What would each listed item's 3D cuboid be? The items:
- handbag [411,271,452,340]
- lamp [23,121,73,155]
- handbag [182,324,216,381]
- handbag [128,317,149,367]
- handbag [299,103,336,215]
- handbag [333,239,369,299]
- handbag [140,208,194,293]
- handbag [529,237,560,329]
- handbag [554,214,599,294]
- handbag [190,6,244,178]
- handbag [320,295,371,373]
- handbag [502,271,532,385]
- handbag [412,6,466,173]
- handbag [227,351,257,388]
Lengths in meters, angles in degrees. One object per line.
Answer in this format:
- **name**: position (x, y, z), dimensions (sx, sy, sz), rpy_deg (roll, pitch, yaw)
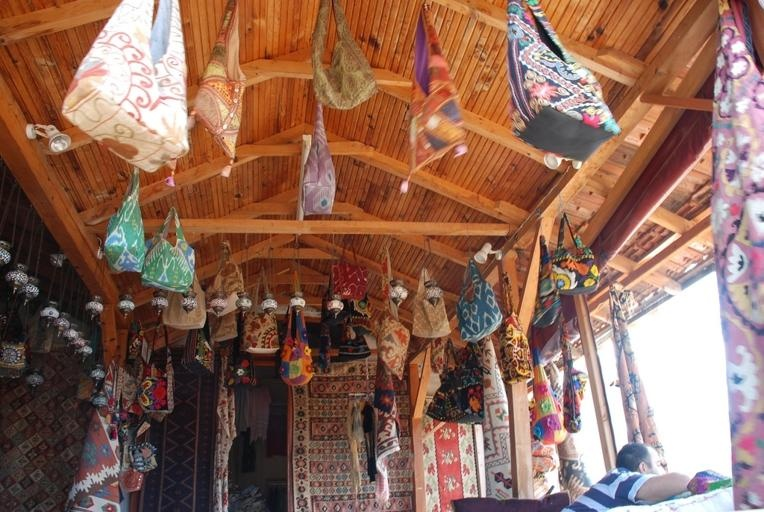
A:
- **handbag**: position (0.583, 0.568, 7.109), dimensions (0.388, 0.879, 0.583), rpy_deg (2, -31, -9)
- **lamp**: position (-3.001, -1.049, 5.212), dimensions (0.247, 0.369, 0.215), rpy_deg (-16, -41, -26)
- **handbag**: position (-2.528, 1.264, 8.032), dimensions (0.349, 0.515, 0.626), rpy_deg (-2, -31, -3)
- **handbag**: position (-3.234, 1.133, 7.623), dimensions (0.131, 0.601, 0.349), rpy_deg (2, 3, 14)
- **handbag**: position (-0.606, -1.030, 5.542), dimensions (0.300, 1.110, 0.808), rpy_deg (1, -31, -8)
- **handbag**: position (-0.539, 0.345, 8.555), dimensions (0.522, 0.676, 0.276), rpy_deg (-1, -22, -16)
- **handbag**: position (-1.990, -0.101, 5.538), dimensions (0.460, 0.848, 0.337), rpy_deg (10, -33, -22)
- **handbag**: position (1.752, 0.212, 6.362), dimensions (0.260, 0.849, 0.822), rpy_deg (-5, -31, 3)
- **handbag**: position (1.915, -0.044, 5.948), dimensions (0.403, 0.881, 0.428), rpy_deg (0, -31, -6)
- **handbag**: position (-1.256, -1.526, 4.610), dimensions (0.358, 1.332, 0.598), rpy_deg (9, -32, -19)
- **handbag**: position (-0.541, 1.048, 8.335), dimensions (0.753, 1.094, 0.316), rpy_deg (2, 5, 9)
- **handbag**: position (1.439, 0.767, 6.573), dimensions (0.337, 1.292, 0.343), rpy_deg (-10, -31, 12)
- **handbag**: position (0.376, -1.186, 4.273), dimensions (0.333, 1.312, 0.414), rpy_deg (14, -35, -27)
- **handbag**: position (-2.079, 1.686, 8.582), dimensions (0.383, 0.418, 0.378), rpy_deg (1, -31, -7)
